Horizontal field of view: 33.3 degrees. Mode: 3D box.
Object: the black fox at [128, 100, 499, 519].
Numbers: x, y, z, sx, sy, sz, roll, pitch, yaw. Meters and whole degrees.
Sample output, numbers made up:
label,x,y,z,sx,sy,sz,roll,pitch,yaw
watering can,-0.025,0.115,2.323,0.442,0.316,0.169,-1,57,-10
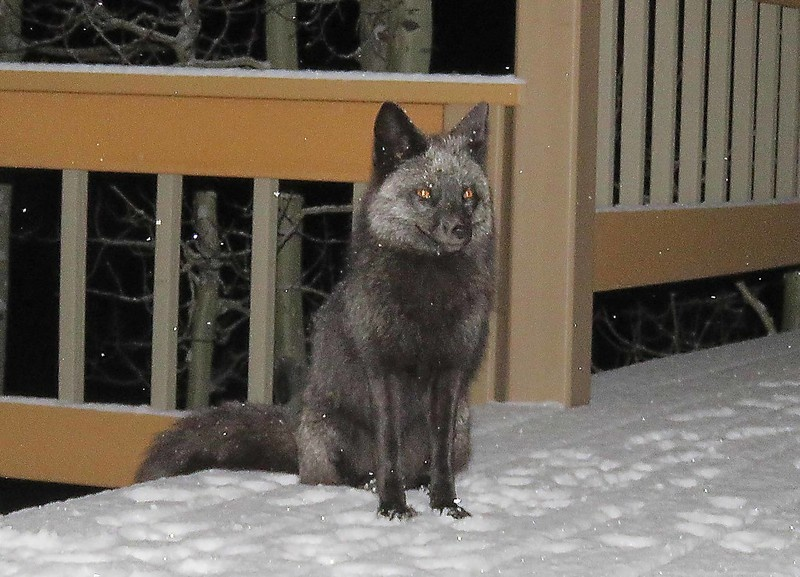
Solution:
label,x,y,z,sx,sy,sz,roll,pitch,yaw
black fox,-0.350,0.241,7.381,1.475,2.285,2.076,4,-7,-30
